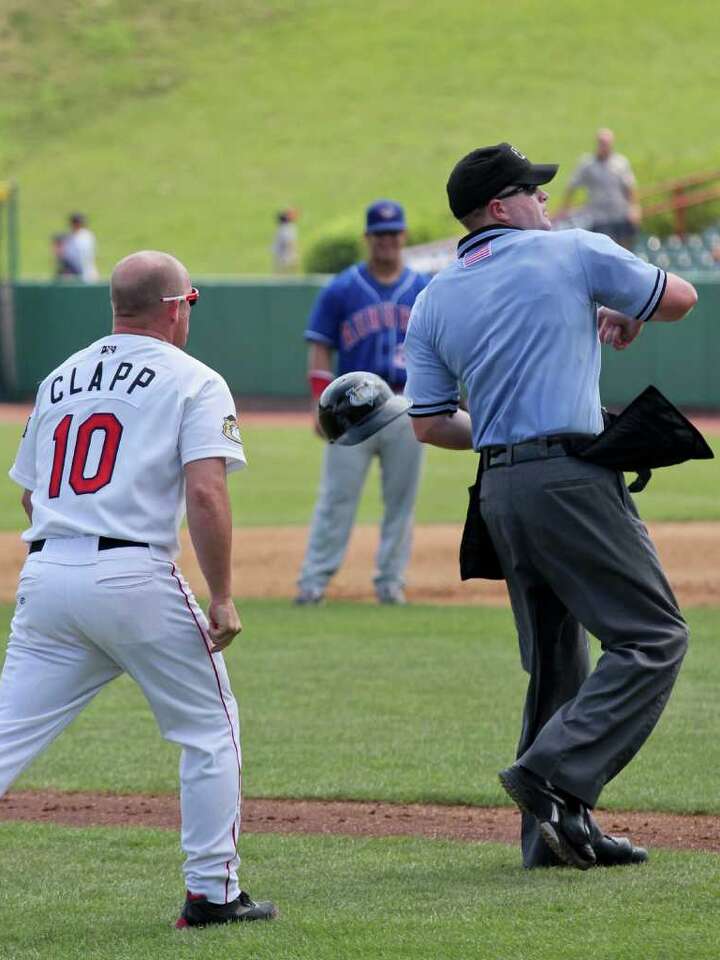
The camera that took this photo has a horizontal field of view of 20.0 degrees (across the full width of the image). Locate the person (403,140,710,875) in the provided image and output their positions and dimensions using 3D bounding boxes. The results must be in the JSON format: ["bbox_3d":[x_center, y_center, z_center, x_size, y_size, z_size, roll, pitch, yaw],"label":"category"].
[{"bbox_3d":[0.538,0.145,5.746,0.556,1.664,0.869,-2,14,-25],"label":"person"}]

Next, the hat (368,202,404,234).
[{"bbox_3d":[0.113,-1.148,9.076,0.131,0.089,0.173,-1,14,-2],"label":"hat"}]

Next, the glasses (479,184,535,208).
[{"bbox_3d":[0.422,-0.799,5.781,0.085,0.023,0.081,-21,1,10],"label":"glasses"}]

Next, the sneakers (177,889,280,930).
[{"bbox_3d":[-0.337,1.101,5.292,0.265,0.093,0.090,-2,-1,-18],"label":"sneakers"}]

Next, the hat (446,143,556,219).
[{"bbox_3d":[0.390,-0.865,5.820,0.311,0.153,0.191,-23,8,16],"label":"hat"}]

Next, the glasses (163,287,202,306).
[{"bbox_3d":[-0.467,-0.481,5.475,0.066,0.020,0.062,-13,9,-28],"label":"glasses"}]

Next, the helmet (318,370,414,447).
[{"bbox_3d":[0.009,-0.190,5.944,0.256,0.226,0.182,5,13,6],"label":"helmet"}]
